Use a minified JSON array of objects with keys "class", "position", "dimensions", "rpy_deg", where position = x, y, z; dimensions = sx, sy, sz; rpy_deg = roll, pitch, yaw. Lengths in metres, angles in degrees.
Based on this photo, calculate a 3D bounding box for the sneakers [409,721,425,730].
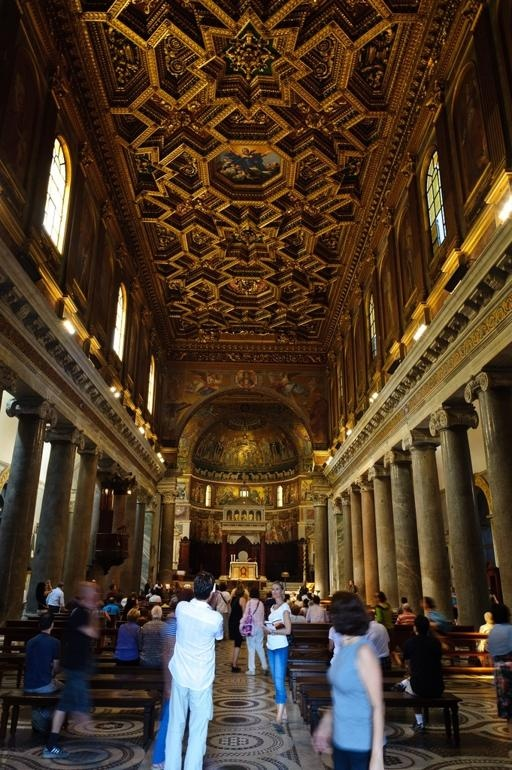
[{"class":"sneakers","position":[1.786,3.807,5.176],"dimensions":[0.086,0.119,0.270],"rpy_deg":[4,-30,1]}]
